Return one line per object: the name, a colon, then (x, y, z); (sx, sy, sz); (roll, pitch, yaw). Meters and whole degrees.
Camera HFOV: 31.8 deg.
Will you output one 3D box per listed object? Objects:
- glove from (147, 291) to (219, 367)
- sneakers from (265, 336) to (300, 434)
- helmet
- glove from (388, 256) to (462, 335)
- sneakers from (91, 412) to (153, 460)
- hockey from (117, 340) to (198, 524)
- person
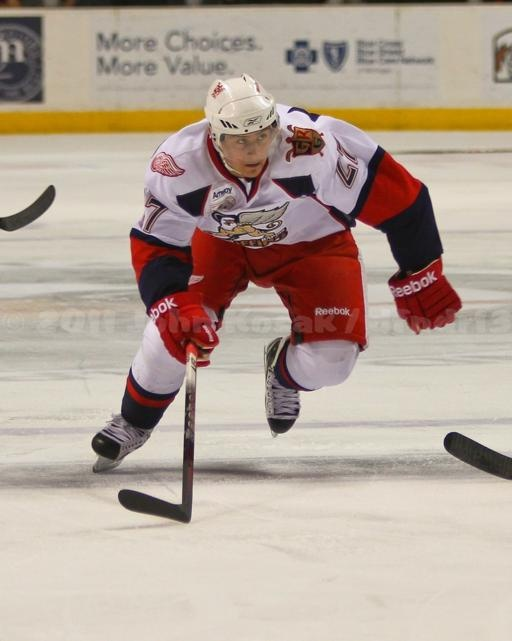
glove: (-0.163, 0.007, 2.027); (0.081, 0.192, 0.156); (17, 43, -27)
sneakers: (0.036, 0.177, 2.462); (0.107, 0.244, 0.120); (-1, -5, -17)
helmet: (-0.030, -0.472, 2.059); (0.160, 0.145, 0.160); (-20, 46, -9)
glove: (0.409, -0.057, 2.302); (0.179, 0.166, 0.115); (-21, 14, -6)
sneakers: (-0.338, 0.289, 2.279); (0.063, 0.074, 0.176); (47, 21, 7)
hockey: (-0.209, 0.247, 1.940); (0.156, 0.358, 0.199); (2, 11, -4)
person: (0.004, -0.108, 2.304); (1.091, 0.898, 0.614); (-15, 18, -20)
